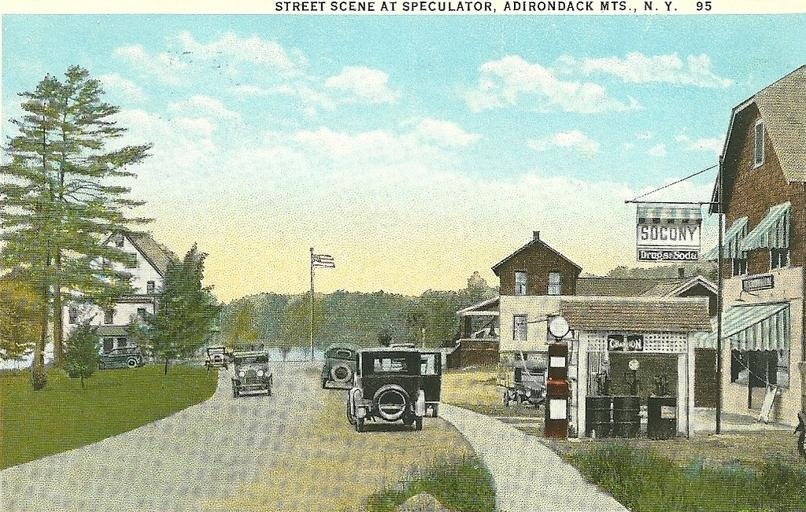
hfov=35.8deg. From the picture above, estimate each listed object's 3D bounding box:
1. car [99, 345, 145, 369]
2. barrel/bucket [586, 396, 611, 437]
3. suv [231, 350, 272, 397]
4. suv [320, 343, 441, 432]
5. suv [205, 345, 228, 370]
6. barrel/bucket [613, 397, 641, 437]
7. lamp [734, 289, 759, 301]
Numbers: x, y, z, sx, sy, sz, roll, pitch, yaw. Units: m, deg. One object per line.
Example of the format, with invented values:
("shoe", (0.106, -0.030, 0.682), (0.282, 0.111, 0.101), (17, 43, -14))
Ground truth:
("car", (-20.884, 7.652, 93.164), (2.917, 1.229, 1.622), (2, -7, 0))
("barrel/bucket", (8.809, 7.242, 55.965), (1.130, 1.806, 0.450), (2, -9, -1))
("suv", (-8.252, 6.157, 68.469), (2.175, 2.000, 4.059), (-6, 13, -4))
("suv", (-0.728, 6.128, 59.258), (3.546, 2.746, 5.809), (1, -2, -7))
("suv", (-13.331, 7.192, 89.230), (1.151, 0.977, 1.903), (1, -10, -13))
("barrel/bucket", (10.079, 7.266, 56.128), (1.207, 1.864, 0.460), (2, -9, -1))
("lamp", (17.653, 1.996, 63.723), (0.601, 0.606, 1.574), (0, 1, -10))
